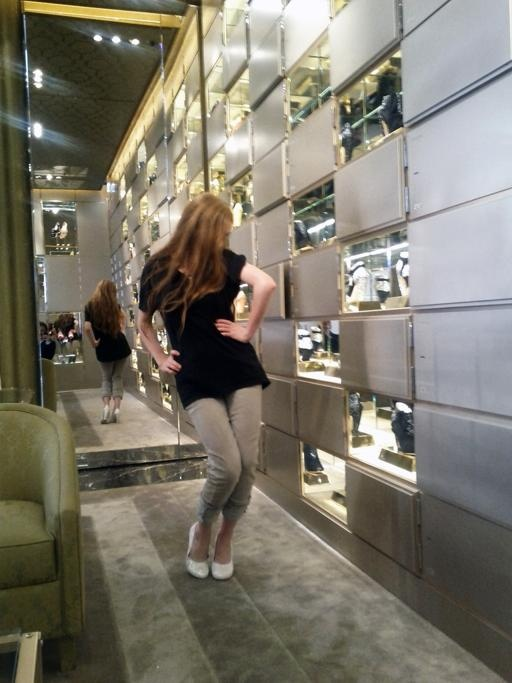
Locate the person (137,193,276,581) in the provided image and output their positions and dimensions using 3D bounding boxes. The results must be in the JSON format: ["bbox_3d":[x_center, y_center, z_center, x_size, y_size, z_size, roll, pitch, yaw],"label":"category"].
[{"bbox_3d":[-0.188,0.168,1.750,0.480,1.420,0.350,-1,-3,-8],"label":"person"}]

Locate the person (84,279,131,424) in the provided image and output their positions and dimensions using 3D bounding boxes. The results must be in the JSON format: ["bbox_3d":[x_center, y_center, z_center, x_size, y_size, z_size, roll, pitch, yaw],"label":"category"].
[{"bbox_3d":[-1.055,0.082,3.522,0.285,1.031,0.317,-1,-3,0],"label":"person"}]

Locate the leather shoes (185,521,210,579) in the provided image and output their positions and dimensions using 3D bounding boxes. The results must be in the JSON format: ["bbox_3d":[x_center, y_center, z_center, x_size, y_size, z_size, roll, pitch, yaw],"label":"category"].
[{"bbox_3d":[-0.220,0.813,1.898,0.083,0.038,0.268,3,26,-5],"label":"leather shoes"}]

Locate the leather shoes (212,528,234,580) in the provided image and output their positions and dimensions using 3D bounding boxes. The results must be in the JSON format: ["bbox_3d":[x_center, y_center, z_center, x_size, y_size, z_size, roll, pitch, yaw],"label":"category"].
[{"bbox_3d":[-0.117,0.788,1.815,0.074,0.036,0.246,3,30,0],"label":"leather shoes"}]

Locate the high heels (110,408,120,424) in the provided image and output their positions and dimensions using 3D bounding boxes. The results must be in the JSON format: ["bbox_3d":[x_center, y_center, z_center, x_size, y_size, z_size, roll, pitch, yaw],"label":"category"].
[{"bbox_3d":[-1.064,0.556,3.627,0.043,0.059,0.133,0,6,-12],"label":"high heels"}]

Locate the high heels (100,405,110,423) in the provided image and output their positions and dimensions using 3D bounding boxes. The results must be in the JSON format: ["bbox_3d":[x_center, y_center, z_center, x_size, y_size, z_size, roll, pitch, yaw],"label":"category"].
[{"bbox_3d":[-1.122,0.544,3.593,0.047,0.153,0.062,4,2,-19],"label":"high heels"}]
